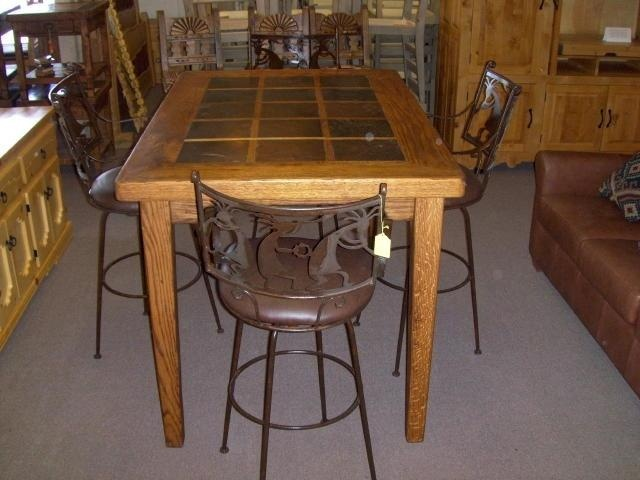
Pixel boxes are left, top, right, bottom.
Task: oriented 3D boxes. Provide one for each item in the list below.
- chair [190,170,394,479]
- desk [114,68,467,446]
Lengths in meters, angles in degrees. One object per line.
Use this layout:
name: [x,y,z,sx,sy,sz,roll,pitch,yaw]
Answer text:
chair: [-0.125,0.138,2.115,0.703,1.235,1.269,-2,26,-3]
desk: [-0.115,-0.114,2.550,1.136,1.150,1.769,-2,35,-1]
